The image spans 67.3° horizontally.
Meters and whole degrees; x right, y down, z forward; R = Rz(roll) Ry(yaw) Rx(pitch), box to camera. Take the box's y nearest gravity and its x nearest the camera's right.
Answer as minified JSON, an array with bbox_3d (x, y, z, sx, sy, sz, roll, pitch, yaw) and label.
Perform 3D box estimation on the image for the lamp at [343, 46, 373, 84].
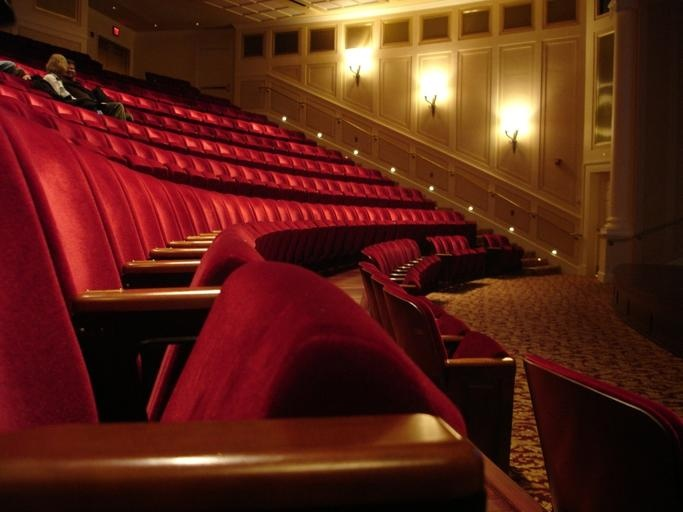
[{"bbox_3d":[0.107,-1.359,3.736,0.145,0.246,0.149,-3,15,25],"label":"lamp"}]
